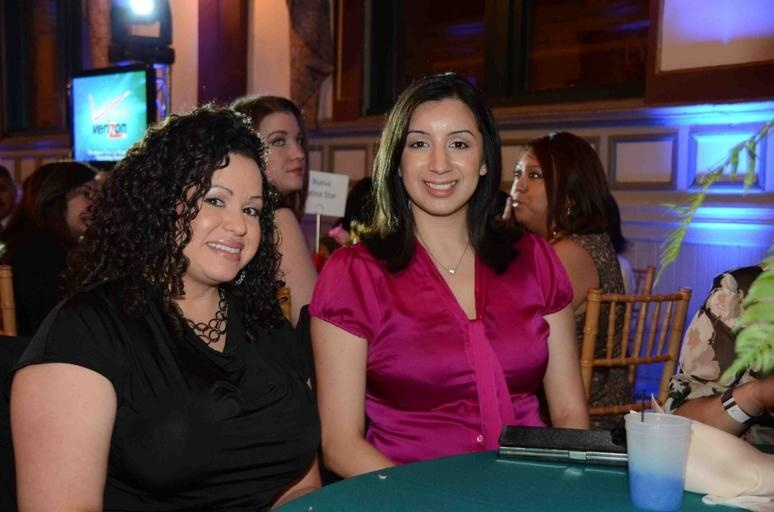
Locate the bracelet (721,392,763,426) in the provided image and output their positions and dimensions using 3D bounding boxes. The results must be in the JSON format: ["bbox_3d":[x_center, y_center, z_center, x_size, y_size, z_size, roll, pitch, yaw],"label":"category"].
[{"bbox_3d":[1.071,0.465,1.868,0.103,0.040,0.103,37,-9,-3],"label":"bracelet"}]

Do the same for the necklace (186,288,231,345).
[{"bbox_3d":[-0.584,0.205,2.023,0.016,0.140,0.115,-35,-13,39],"label":"necklace"}]

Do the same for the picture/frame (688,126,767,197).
[{"bbox_3d":[2.483,-0.704,4.412,0.536,0.492,0.445,3,8,21],"label":"picture/frame"}]

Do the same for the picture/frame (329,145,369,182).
[{"bbox_3d":[-0.425,-0.949,6.326,0.410,0.387,0.099,7,8,35],"label":"picture/frame"}]

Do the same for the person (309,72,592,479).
[{"bbox_3d":[0.241,0.110,2.295,1.054,1.600,0.867,-2,3,-10],"label":"person"}]
